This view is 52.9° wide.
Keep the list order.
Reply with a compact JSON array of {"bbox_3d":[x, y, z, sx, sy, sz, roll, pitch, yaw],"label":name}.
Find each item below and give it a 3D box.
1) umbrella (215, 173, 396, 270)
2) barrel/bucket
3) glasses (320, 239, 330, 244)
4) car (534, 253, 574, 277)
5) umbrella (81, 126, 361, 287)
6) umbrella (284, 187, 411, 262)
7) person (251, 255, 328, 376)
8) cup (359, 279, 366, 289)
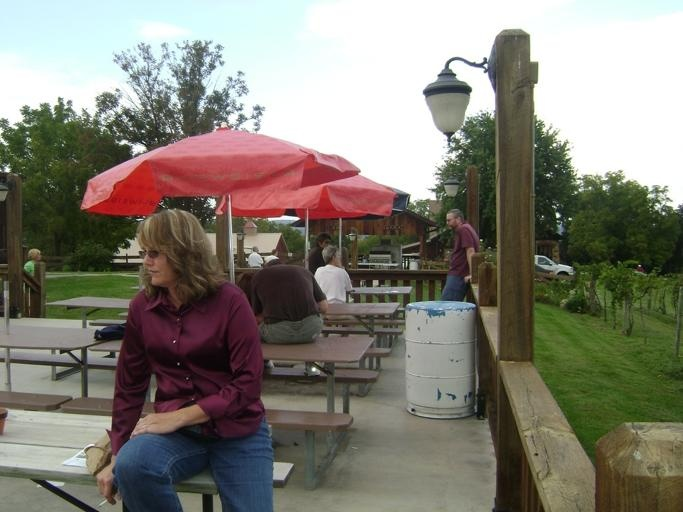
[{"bbox_3d":[-0.587,-0.667,19.226,4.059,2.057,3.974,0,5,9],"label":"umbrella"},{"bbox_3d":[0.944,1.102,7.397,1.031,1.606,1.031,0,-1,0],"label":"barrel/bucket"},{"bbox_3d":[-0.269,-0.230,11.497,0.067,0.071,0.087,4,8,-28],"label":"glasses"},{"bbox_3d":[12.195,0.535,39.205,2.858,1.421,1.469,-2,2,19],"label":"car"},{"bbox_3d":[-1.281,-0.787,6.244,1.816,1.226,1.882,7,13,35],"label":"umbrella"},{"bbox_3d":[0.083,-0.608,9.739,1.277,0.891,1.314,-2,-3,27],"label":"umbrella"},{"bbox_3d":[-0.552,0.484,7.068,0.688,0.832,0.765,-6,-2,-8],"label":"person"},{"bbox_3d":[0.467,0.599,14.252,0.166,0.170,0.168,-2,-7,0],"label":"cup"}]
